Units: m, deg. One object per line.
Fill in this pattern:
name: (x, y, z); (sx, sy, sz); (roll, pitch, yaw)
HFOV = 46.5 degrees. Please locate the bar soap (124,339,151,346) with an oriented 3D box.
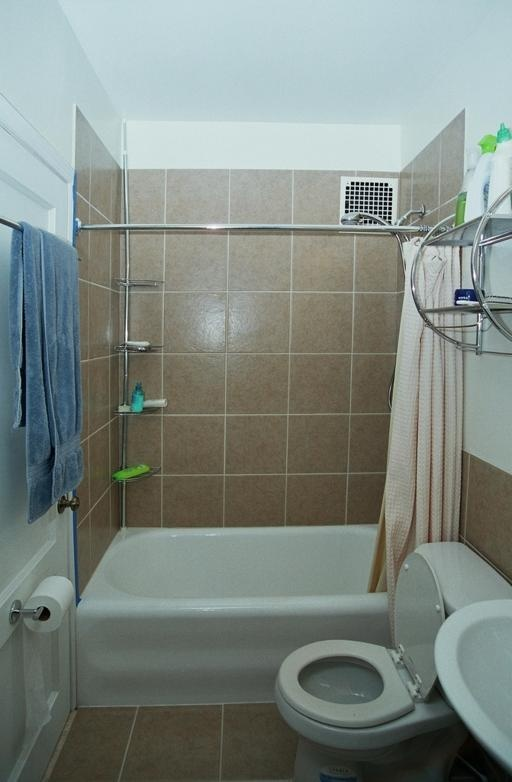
bar soap: (-0.524, -0.207, 2.639); (0.096, 0.034, 0.159); (-2, 2, -6)

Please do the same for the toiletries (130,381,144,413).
toiletries: (-0.531, 0.037, 2.665); (0.059, 0.137, 0.170); (-2, 2, -10)

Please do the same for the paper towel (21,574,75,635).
paper towel: (-0.545, 0.568, 1.598); (0.104, 0.122, 0.221); (-2, 5, 4)

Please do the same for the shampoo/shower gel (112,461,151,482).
shampoo/shower gel: (-0.554, 0.386, 2.665); (0.162, 0.090, 0.231); (-2, 2, -9)

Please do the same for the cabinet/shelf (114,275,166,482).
cabinet/shelf: (-0.524, -0.041, 2.657); (0.240, 0.921, 0.226); (-1, 2, -10)
